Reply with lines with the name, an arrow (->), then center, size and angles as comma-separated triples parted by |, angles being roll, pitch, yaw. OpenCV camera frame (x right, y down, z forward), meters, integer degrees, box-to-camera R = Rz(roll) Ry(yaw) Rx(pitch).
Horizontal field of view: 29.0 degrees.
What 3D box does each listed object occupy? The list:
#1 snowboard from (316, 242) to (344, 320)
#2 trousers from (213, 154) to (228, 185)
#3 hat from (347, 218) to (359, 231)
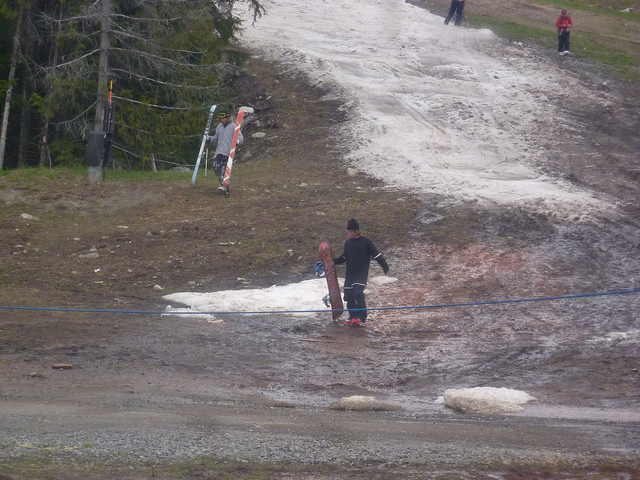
snowboard -> 0.193, 0.983, 32.589 | 0.399, 1.904, 0.516 | -9, 4, 32
trousers -> -3.101, -2.202, 37.906 | 0.402, 0.907, 0.317 | 8, 20, -6
hat -> 0.852, -0.424, 32.504 | 0.278, 0.280, 0.272 | 8, 18, -1
